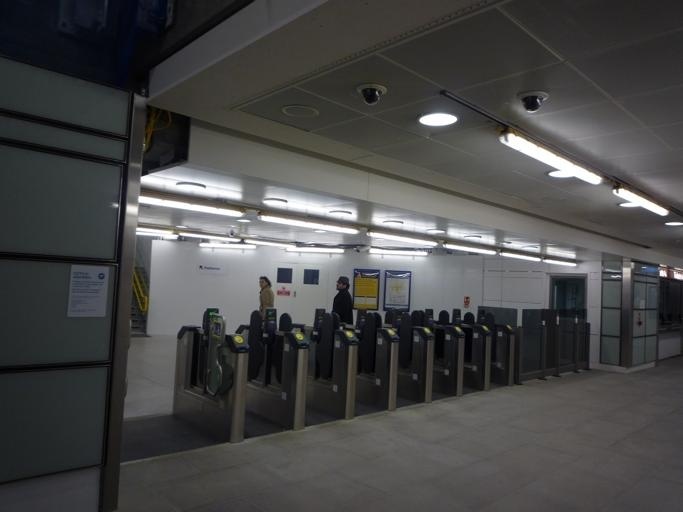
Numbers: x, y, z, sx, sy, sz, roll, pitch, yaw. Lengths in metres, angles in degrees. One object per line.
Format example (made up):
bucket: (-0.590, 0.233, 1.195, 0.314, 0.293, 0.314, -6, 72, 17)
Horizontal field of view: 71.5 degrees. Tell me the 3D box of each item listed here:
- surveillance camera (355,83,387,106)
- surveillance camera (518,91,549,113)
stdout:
surveillance camera: (0.255, -1.380, 4.053, 0.152, 0.077, 0.157, -1, -1, 27)
surveillance camera: (1.657, -1.323, 4.098, 0.158, 0.081, 0.164, 1, 0, 14)
